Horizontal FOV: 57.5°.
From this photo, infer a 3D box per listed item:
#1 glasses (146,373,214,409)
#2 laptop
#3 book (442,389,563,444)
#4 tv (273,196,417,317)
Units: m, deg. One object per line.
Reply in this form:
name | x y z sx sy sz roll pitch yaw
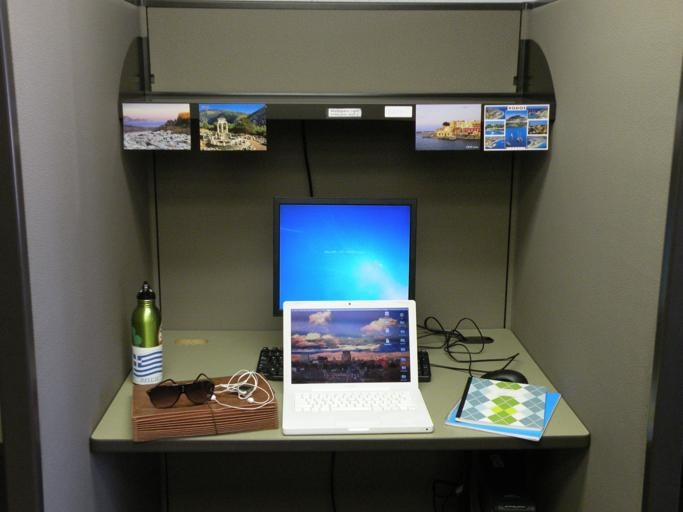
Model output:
glasses | -0.452 0.387 1.837 0.188 0.076 0.212 -5 1 1
laptop | 0.025 0.235 1.810 0.393 0.256 0.359 -1 17 -4
book | 0.484 0.465 1.762 0.380 0.048 0.191 -3 13 -11
tv | 0.001 -0.004 2.054 0.371 0.333 0.013 0 5 -1
